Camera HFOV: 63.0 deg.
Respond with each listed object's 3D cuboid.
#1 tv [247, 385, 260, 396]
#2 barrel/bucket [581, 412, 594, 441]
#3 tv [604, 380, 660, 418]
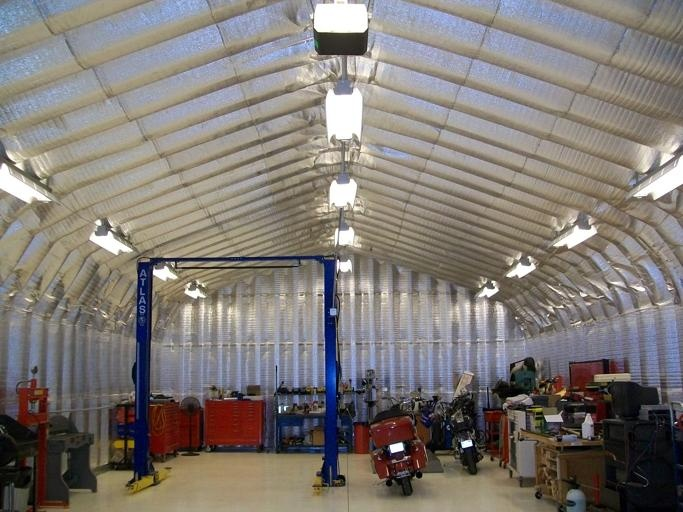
[{"bbox_3d":[-2.566,3.918,16.312,0.321,0.207,0.301,1,-6,-3],"label":"tv"},{"bbox_3d":[3.835,2.640,8.661,0.181,0.357,0.441,-4,-11,21],"label":"barrel/bucket"},{"bbox_3d":[4.091,1.966,7.804,0.641,0.417,0.610,-4,-6,17],"label":"tv"}]
